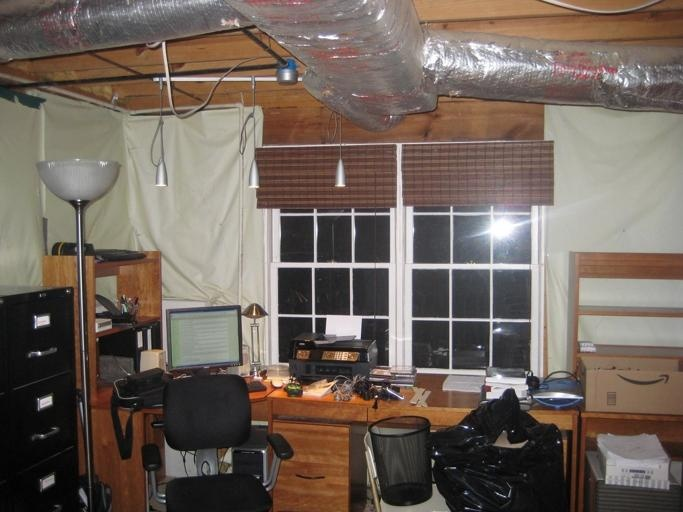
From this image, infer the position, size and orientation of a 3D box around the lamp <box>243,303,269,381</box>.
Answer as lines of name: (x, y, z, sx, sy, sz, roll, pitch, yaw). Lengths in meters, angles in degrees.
lamp: (-0.707, 0.668, 5.003, 0.182, 0.568, 0.456, 0, -5, -8)

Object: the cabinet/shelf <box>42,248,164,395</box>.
cabinet/shelf: (-1.733, 0.492, 4.459, 0.337, 1.022, 1.049, 0, -2, 14)

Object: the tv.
tv: (-1.058, 0.646, 4.729, 0.523, 0.451, 0.058, -2, -3, -15)

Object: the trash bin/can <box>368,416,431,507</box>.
trash bin/can: (0.300, 1.253, 3.903, 0.449, 0.481, 0.449, -5, -7, -6)

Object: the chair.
chair: (-0.843, 1.165, 4.093, 0.939, 1.192, 0.868, 1, -12, -11)

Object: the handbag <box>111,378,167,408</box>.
handbag: (-1.417, 0.952, 4.290, 0.259, 0.085, 0.263, 3, 2, 31)
